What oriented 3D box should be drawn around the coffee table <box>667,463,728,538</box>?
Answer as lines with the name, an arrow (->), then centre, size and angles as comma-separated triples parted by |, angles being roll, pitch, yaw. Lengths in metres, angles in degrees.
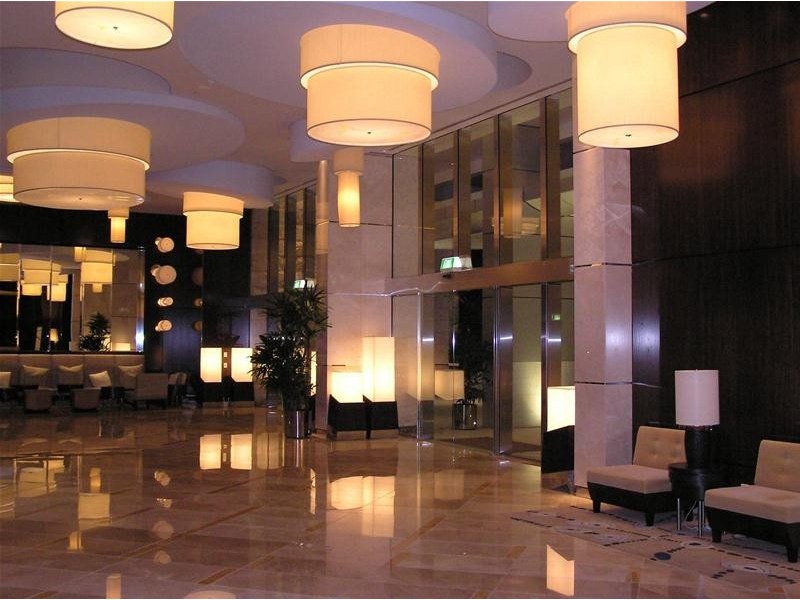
coffee table -> 3.304, 2.335, 9.301 | 0.708, 0.534, 0.698 | -10, -10, -42

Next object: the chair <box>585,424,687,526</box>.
chair -> 3.012, 2.106, 9.903 | 1.352, 1.004, 1.254 | -6, -5, 44
